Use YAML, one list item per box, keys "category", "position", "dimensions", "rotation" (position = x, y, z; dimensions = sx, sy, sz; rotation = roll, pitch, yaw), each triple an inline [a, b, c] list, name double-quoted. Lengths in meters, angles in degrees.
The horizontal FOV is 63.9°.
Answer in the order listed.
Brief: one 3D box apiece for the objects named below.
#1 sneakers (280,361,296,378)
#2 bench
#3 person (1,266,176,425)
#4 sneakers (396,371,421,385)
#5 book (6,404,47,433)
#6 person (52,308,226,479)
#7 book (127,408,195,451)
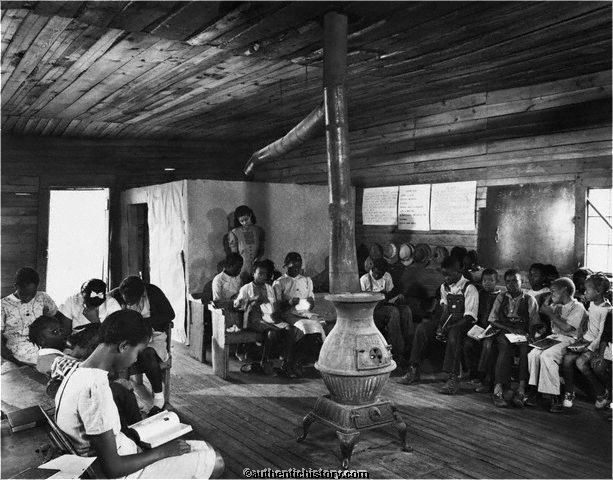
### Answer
- category: "sneakers"
  position: [-0.252, 1.688, 6.475]
  dimensions: [0.214, 0.184, 0.321]
  rotation: [-1, -1, -5]
- category: "bench"
  position: [-1.102, 1.329, 6.972]
  dimensions: [1.311, 0.917, 1.109]
  rotation: [5, -11, -26]
- category: "person"
  position: [-2.365, 0.989, 5.416]
  dimensions: [2.006, 1.228, 1.091]
  rotation: [7, 6, 9]
- category: "sneakers"
  position: [1.279, 1.723, 6.191]
  dimensions: [0.320, 0.241, 0.131]
  rotation: [7, -8, -6]
- category: "book"
  position: [-2.035, 1.290, 3.560]
  dimensions: [0.232, 0.079, 0.259]
  rotation: [-4, 6, -33]
- category: "person"
  position: [-1.274, 1.115, 3.849]
  dimensions: [1.221, 1.378, 0.865]
  rotation: [2, -2, -36]
- category: "book"
  position: [-1.059, 1.343, 3.499]
  dimensions: [0.296, 0.094, 0.280]
  rotation: [-2, 4, -43]
